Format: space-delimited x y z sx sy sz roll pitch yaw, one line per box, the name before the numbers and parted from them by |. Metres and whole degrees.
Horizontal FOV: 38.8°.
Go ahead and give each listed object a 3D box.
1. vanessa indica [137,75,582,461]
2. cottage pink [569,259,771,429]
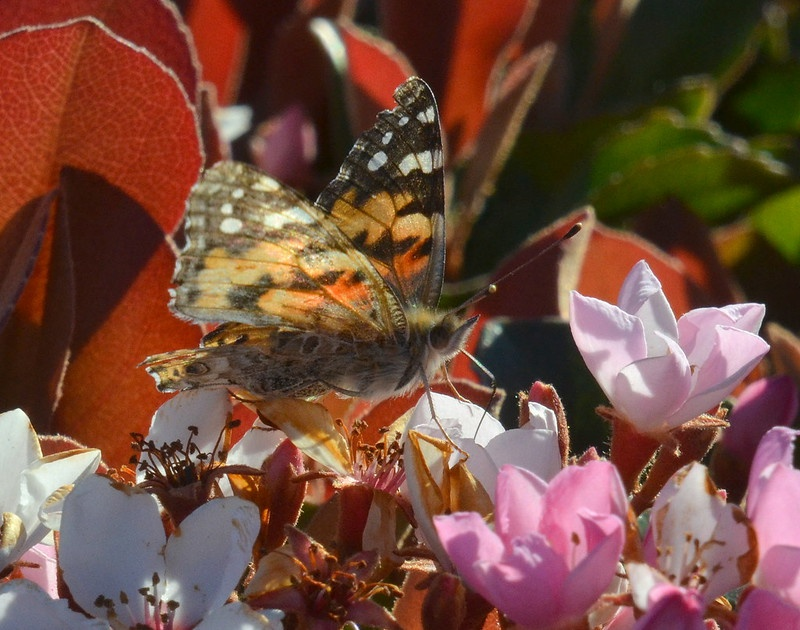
vanessa indica | -0.079 -0.042 1.460 0.411 0.319 0.449 2 -6 6
cottage pink | 0.294 0.044 1.274 0.162 0.124 0.194 1 22 -23
